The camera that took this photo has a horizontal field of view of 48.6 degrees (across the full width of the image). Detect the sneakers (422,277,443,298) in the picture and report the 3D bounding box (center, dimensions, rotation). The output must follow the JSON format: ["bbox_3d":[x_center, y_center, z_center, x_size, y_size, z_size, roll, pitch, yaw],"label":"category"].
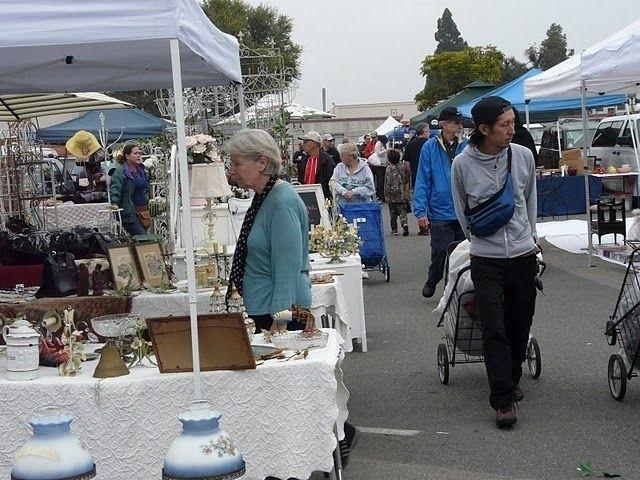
[{"bbox_3d":[1.471,0.559,9.410,0.131,0.393,0.167,21,5,30],"label":"sneakers"}]

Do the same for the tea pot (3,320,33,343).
[{"bbox_3d":[-1.697,0.509,3.976,0.146,0.131,0.118,0,1,13],"label":"tea pot"}]

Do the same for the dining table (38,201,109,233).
[{"bbox_3d":[-4.666,-0.452,13.571,1.289,0.316,1.294,-1,1,-18],"label":"dining table"}]

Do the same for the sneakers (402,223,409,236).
[{"bbox_3d":[1.931,-0.209,15.887,0.097,0.250,0.100,-2,9,3],"label":"sneakers"}]

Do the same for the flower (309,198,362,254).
[{"bbox_3d":[0.172,-0.110,8.053,0.603,0.808,0.604,-1,-1,-24],"label":"flower"}]

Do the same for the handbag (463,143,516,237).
[{"bbox_3d":[1.267,-0.371,5.341,0.227,0.630,0.361,21,-27,-32],"label":"handbag"}]

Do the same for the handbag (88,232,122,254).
[{"bbox_3d":[-1.890,0.039,6.210,0.084,0.146,0.190,-43,-6,12],"label":"handbag"}]

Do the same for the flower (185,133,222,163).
[{"bbox_3d":[-1.223,-0.971,7.837,0.328,0.348,0.340,-28,34,-25],"label":"flower"}]

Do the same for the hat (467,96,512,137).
[{"bbox_3d":[1.268,-0.938,5.297,0.311,0.255,0.226,0,9,26],"label":"hat"}]

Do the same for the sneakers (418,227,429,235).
[{"bbox_3d":[2.146,-0.156,14.644,0.160,0.171,0.397,0,-3,-5],"label":"sneakers"}]

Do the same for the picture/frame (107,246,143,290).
[{"bbox_3d":[-1.606,0.240,5.805,0.033,0.427,0.382,-23,-12,32],"label":"picture/frame"}]

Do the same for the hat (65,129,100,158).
[{"bbox_3d":[-4.375,-1.742,13.089,0.601,0.631,0.270,-25,-37,-14],"label":"hat"}]

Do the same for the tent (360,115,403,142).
[{"bbox_3d":[3.983,-6.545,41.708,3.380,1.396,3.384,-2,2,3],"label":"tent"}]

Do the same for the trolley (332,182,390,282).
[{"bbox_3d":[0.721,-0.059,11.214,1.008,1.614,1.157,-3,2,-8],"label":"trolley"}]

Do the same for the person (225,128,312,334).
[{"bbox_3d":[-0.346,-0.027,4.423,0.550,1.314,0.375,-5,8,-3],"label":"person"}]

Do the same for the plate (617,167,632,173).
[{"bbox_3d":[7.043,-1.600,16.373,0.196,0.064,0.196,-1,-3,0],"label":"plate"}]

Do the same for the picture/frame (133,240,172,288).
[{"bbox_3d":[-1.447,0.223,6.072,0.029,0.366,0.374,-22,-2,27],"label":"picture/frame"}]

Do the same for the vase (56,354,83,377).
[{"bbox_3d":[-1.419,0.722,4.024,0.095,0.123,0.061,12,-14,4],"label":"vase"}]

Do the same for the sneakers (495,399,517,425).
[{"bbox_3d":[1.387,1.309,5.285,0.161,0.167,0.179,-2,8,12],"label":"sneakers"}]

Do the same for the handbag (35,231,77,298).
[{"bbox_3d":[-2.039,0.243,5.643,0.297,0.539,0.390,-6,-5,28],"label":"handbag"}]
